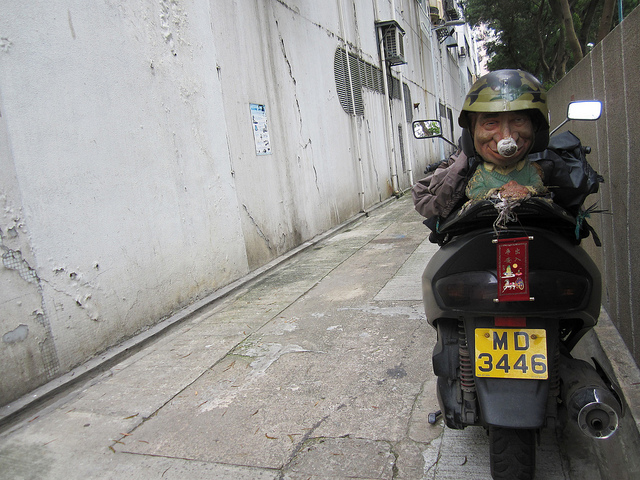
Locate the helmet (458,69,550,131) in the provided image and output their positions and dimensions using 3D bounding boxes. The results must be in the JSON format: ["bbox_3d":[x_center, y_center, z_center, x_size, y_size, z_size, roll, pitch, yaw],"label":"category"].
[{"bbox_3d":[1.052,-0.801,2.569,0.478,0.291,0.438,-6,11,-32],"label":"helmet"}]

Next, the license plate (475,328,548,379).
[{"bbox_3d":[0.943,0.556,2.194,0.236,0.179,0.018,1,-7,7],"label":"license plate"}]

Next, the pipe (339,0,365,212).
[{"bbox_3d":[0.810,-3.220,11.046,0.195,4.968,0.764,-6,13,1],"label":"pipe"}]

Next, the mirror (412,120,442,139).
[{"bbox_3d":[0.710,-0.732,3.014,0.182,0.119,0.330,-2,13,17],"label":"mirror"}]

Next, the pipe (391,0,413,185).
[{"bbox_3d":[2.800,-4.810,15.570,0.148,9.043,0.117,-4,0,-37],"label":"pipe"}]

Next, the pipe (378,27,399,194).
[{"bbox_3d":[2.087,-3.861,13.740,0.288,4.904,0.815,-4,13,8],"label":"pipe"}]

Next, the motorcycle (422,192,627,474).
[{"bbox_3d":[1.007,0.466,2.303,0.904,1.425,0.597,-4,13,11],"label":"motorcycle"}]
